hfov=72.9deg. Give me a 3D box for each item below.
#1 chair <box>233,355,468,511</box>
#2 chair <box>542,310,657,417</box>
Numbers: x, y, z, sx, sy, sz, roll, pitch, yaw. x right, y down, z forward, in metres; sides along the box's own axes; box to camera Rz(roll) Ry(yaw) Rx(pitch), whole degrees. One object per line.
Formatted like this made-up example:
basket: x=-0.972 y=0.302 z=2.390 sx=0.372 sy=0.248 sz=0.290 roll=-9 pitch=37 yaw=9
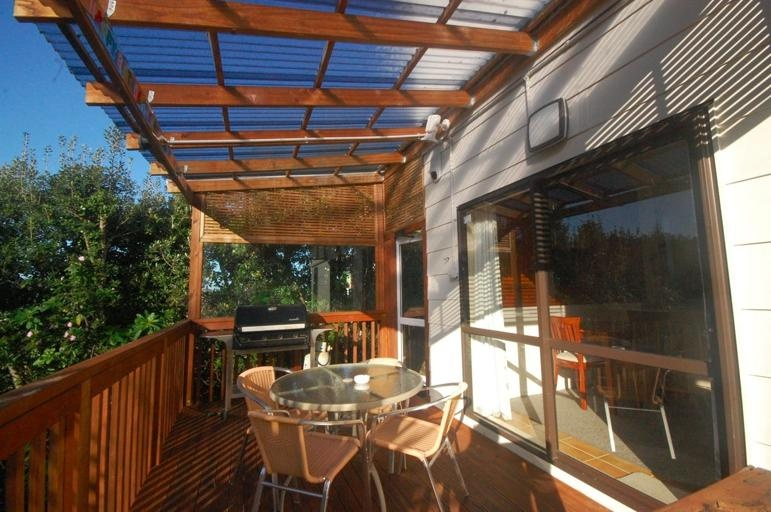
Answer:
chair: x=-0.325 y=1.592 z=4.632 sx=1.436 sy=0.704 sz=1.421 roll=1 pitch=-4 yaw=-16
chair: x=1.998 y=1.048 z=4.960 sx=0.814 sy=1.149 sz=0.741 roll=0 pitch=-7 yaw=-2
